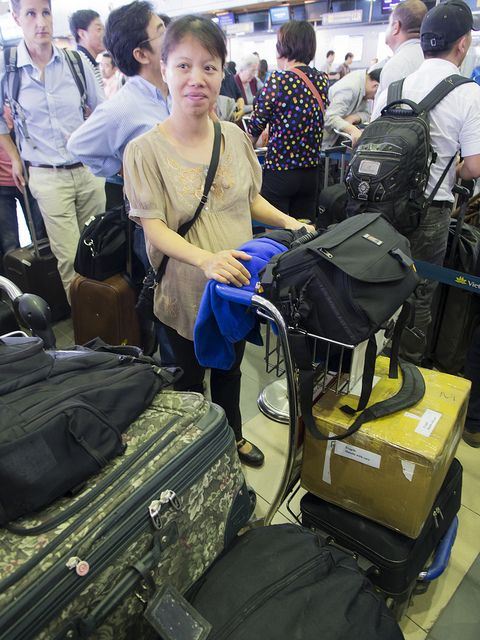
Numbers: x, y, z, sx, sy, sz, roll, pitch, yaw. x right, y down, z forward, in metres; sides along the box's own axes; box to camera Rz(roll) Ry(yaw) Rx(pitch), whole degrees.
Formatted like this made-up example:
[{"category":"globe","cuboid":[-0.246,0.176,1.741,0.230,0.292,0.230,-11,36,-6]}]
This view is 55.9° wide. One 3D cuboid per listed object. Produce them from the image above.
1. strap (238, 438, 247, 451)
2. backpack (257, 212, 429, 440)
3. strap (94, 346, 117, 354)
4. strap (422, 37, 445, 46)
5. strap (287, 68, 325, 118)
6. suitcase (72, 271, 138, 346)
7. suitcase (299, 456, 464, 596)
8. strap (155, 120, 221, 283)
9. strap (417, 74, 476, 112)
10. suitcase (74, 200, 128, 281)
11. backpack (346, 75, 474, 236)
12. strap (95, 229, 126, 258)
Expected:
[{"category":"strap","cuboid":[0.011,0.499,1.841,0.033,0.011,0.024,-49,26,-2]},{"category":"backpack","cuboid":[0.229,-0.011,1.048,0.386,0.403,0.460,9,34,35]},{"category":"strap","cuboid":[-0.327,0.071,1.107,0.030,0.012,0.024,8,8,44]},{"category":"strap","cuboid":[0.811,-1.167,1.900,0.026,0.036,0.106,-15,27,-27]},{"category":"strap","cuboid":[0.373,-1.267,2.531,0.118,0.189,0.142,13,37,-13]},{"category":"suitcase","cuboid":[-0.668,-0.030,2.212,0.238,0.376,0.211,-4,23,-18]},{"category":"suitcase","cuboid":[0.410,0.501,1.255,0.354,0.142,0.457,0,24,32]},{"category":"strap","cuboid":[-0.110,-0.477,1.382,0.097,0.731,0.103,16,-14,-1]},{"category":"strap","cuboid":[0.833,-0.902,1.819,0.219,0.145,0.169,12,29,24]},{"category":"suitcase","cuboid":[-0.615,-0.362,2.134,0.242,0.334,0.277,-5,34,-13]},{"category":"backpack","cuboid":[0.651,-0.632,1.880,0.383,0.511,0.290,-23,32,-39]},{"category":"strap","cuboid":[-0.576,-0.340,2.036,0.120,0.034,0.085,-35,60,3]}]
